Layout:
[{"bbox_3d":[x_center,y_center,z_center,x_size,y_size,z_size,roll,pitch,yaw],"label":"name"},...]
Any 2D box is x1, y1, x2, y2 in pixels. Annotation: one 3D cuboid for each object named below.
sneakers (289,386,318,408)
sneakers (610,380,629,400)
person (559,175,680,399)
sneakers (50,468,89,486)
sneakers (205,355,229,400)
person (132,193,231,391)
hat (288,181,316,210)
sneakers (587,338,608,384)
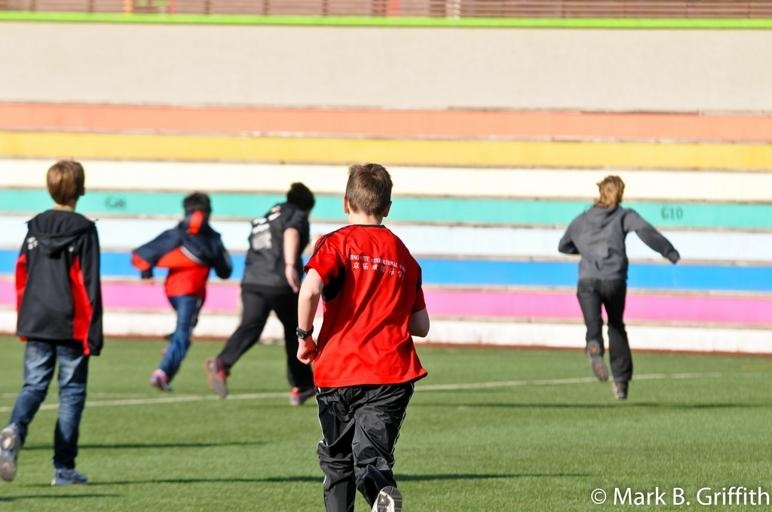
[{"bbox_3d":[-1.171,1.915,25.815,0.182,0.218,0.529,4,10,27],"label":"sneakers"},{"bbox_3d":[3.220,1.808,25.516,0.142,0.159,0.368,0,-25,2],"label":"sneakers"},{"bbox_3d":[3.001,0.322,24.860,1.271,2.728,0.715,-3,4,1],"label":"person"},{"bbox_3d":[-3.853,2.654,22.667,0.500,0.201,0.169,1,3,-16],"label":"sneakers"},{"bbox_3d":[-2.282,1.614,25.415,0.292,0.571,0.226,-16,3,5],"label":"sneakers"},{"bbox_3d":[-2.693,0.461,24.992,1.253,2.599,1.003,-4,4,-8],"label":"person"},{"bbox_3d":[-1.166,-0.836,25.794,0.340,0.363,0.400,-2,9,-2],"label":"hat"},{"bbox_3d":[2.815,1.361,24.747,0.225,0.566,0.281,-21,-2,36],"label":"sneakers"}]
